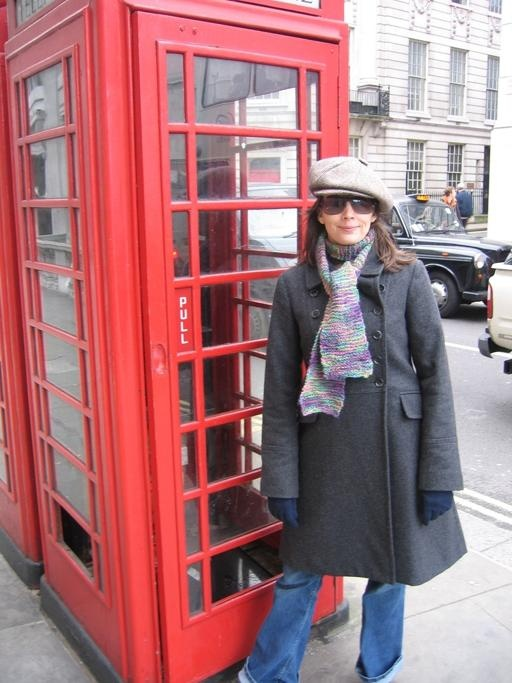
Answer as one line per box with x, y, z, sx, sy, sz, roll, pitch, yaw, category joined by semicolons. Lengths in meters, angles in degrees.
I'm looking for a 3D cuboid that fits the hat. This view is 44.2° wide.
0.270;-0.458;1.832;0.146;0.086;0.201;14;3;-39;hat

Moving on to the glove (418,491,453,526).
0.536;0.477;1.872;0.110;0.108;0.033;2;7;-13;glove
